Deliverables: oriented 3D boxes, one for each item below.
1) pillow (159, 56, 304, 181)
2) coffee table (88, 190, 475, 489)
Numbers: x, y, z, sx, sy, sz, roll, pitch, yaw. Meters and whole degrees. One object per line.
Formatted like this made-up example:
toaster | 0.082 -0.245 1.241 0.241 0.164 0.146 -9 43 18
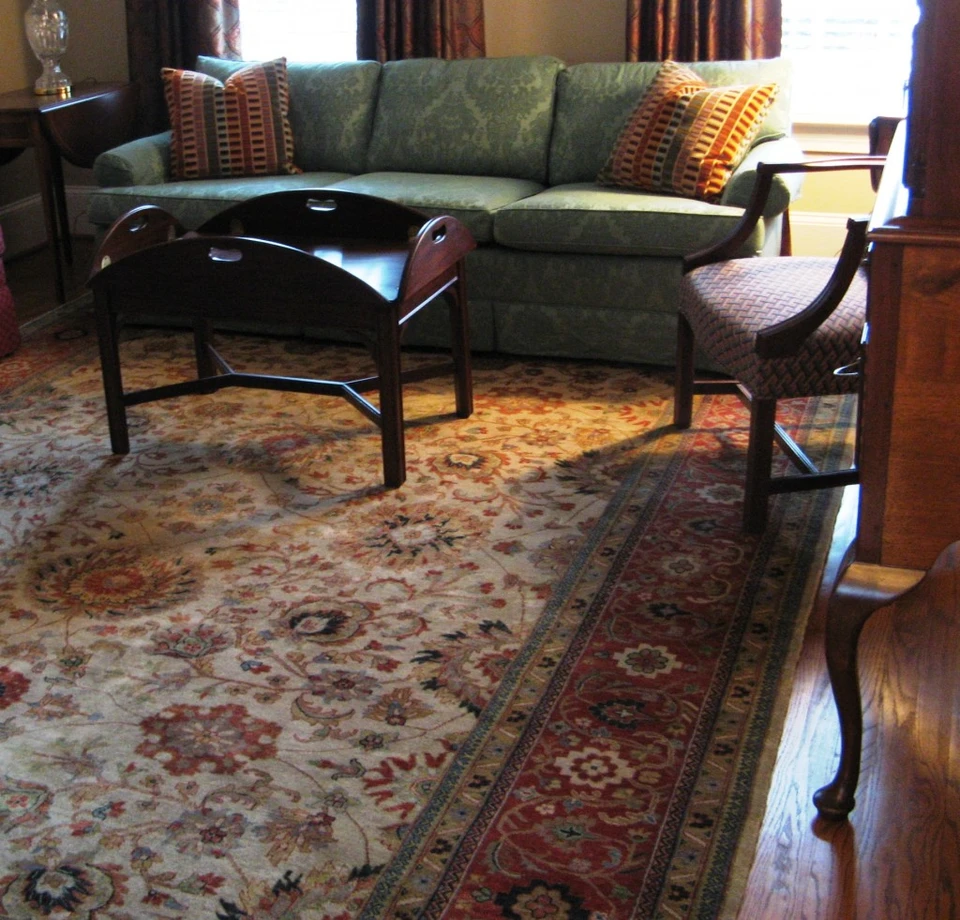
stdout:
pillow | -1.022 -1.417 3.814 0.711 0.473 0.313 -5 20 -6
coffee table | -0.549 -0.336 2.658 1.092 0.631 0.631 7 38 11
